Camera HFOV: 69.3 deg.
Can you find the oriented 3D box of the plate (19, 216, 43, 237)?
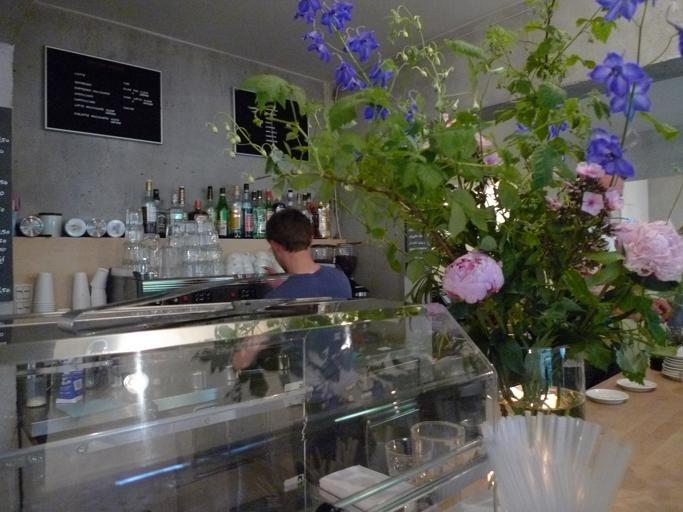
[{"bbox_3d":[-1.723,-0.166,2.762,0.109,0.096,0.058,6,1,-34],"label":"plate"}]

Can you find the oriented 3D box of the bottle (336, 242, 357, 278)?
[{"bbox_3d":[0.057,0.087,4.038,0.138,0.217,0.136,-4,16,1],"label":"bottle"}]

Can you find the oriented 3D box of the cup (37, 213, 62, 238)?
[{"bbox_3d":[-1.640,-0.170,2.812,0.126,0.138,0.125,-1,-3,0],"label":"cup"}]

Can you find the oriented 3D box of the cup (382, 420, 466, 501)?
[{"bbox_3d":[0.130,0.339,0.819,0.118,0.081,0.075,1,-14,-17],"label":"cup"}]

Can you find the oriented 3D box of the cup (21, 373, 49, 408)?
[{"bbox_3d":[-0.413,0.185,0.674,0.030,0.048,0.030,-4,-4,0],"label":"cup"}]

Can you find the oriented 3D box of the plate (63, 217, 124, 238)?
[{"bbox_3d":[-1.478,-0.170,2.989,0.336,0.103,0.167,6,1,-29],"label":"plate"}]

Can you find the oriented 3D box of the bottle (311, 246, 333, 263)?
[{"bbox_3d":[-0.142,-0.010,3.829,0.171,0.120,0.039,7,-4,-45],"label":"bottle"}]
